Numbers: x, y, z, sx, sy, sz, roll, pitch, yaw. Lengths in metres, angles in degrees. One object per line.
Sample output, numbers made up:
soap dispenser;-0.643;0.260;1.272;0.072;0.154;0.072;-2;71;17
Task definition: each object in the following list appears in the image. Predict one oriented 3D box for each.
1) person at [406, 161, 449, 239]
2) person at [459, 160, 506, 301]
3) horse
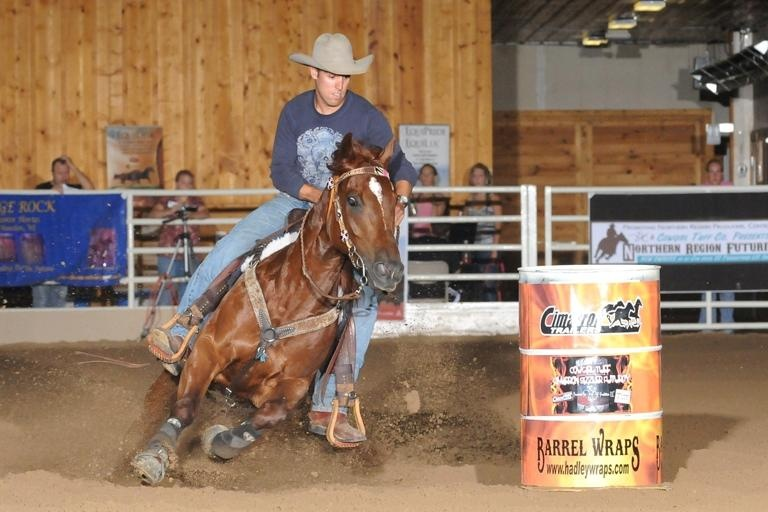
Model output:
person;0.702;-0.648;25.425;0.619;1.873;0.579;-1;-15;24
person;1.656;-0.352;25.216;0.656;2.288;1.352;0;8;3
horse;-2.125;1.110;21.171;1.729;4.332;6.472;21;-28;-29
